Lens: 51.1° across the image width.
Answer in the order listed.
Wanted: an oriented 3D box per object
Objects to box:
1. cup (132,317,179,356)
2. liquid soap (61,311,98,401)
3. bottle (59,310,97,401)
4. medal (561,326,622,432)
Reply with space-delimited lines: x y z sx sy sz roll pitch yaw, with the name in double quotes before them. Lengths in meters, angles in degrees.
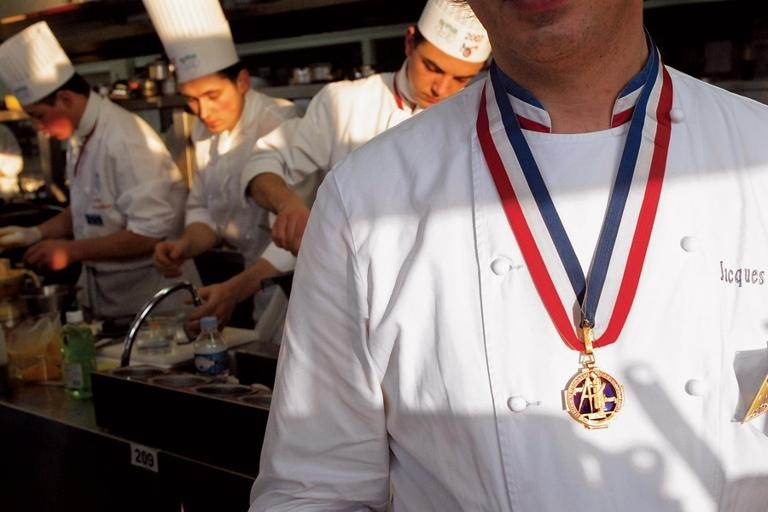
"cup" -0.814 0.284 2.855 0.125 0.096 0.129 0 4 0
"liquid soap" -1.042 0.336 2.731 0.105 0.287 0.108 -3 4 26
"bottle" -1.044 0.339 2.729 0.108 0.286 0.105 -1 4 0
"medal" 0.377 0.222 1.446 0.090 0.173 0.092 18 37 41
